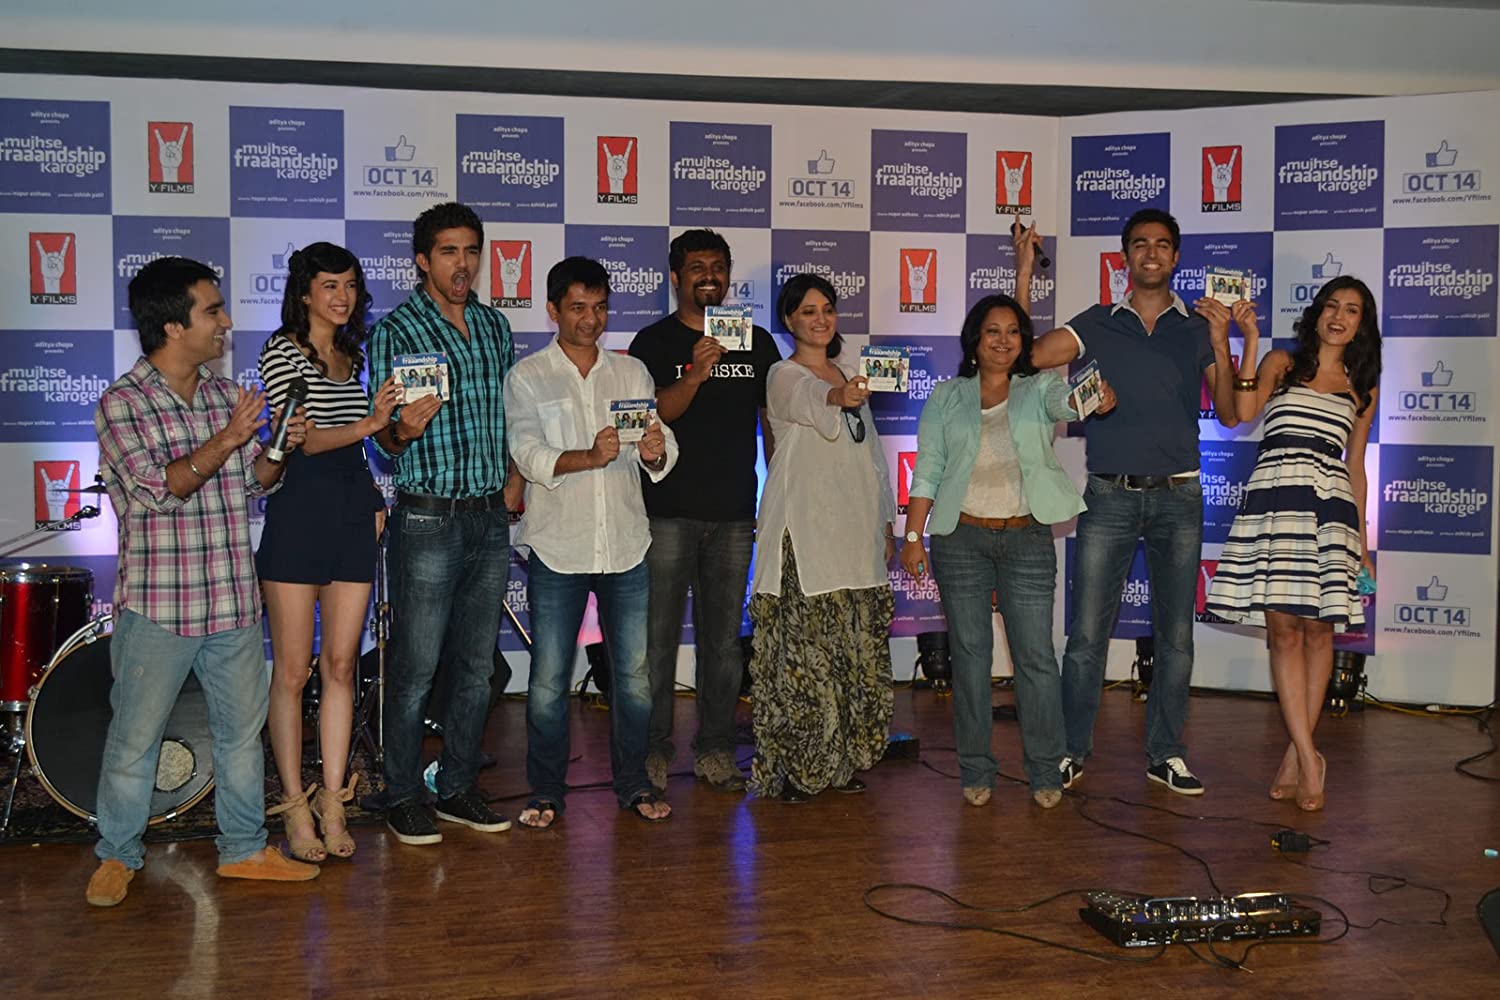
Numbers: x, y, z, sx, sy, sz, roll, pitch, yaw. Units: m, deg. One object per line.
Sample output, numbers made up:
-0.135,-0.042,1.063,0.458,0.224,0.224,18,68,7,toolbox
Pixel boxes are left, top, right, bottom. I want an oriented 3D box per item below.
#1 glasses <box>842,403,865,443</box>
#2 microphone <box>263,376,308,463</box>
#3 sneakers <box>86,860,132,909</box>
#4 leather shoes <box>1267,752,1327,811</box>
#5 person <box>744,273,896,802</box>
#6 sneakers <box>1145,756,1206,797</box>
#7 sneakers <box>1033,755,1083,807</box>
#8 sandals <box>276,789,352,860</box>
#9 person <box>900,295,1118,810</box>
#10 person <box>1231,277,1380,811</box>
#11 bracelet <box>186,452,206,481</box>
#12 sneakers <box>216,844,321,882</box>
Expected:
0.516,-0.375,6.599,0.048,0.161,0.125,-5,26,0,glasses
-1.957,-0.345,5.632,0.077,0.293,0.283,17,-10,-4,microphone
-2.675,1.595,5.585,0.103,0.116,0.253,1,-7,-7,sneakers
2.756,1.413,6.684,0.185,0.084,0.328,-11,30,45,leather shoes
0.357,0.211,6.637,0.686,2.552,0.589,1,12,5,person
2.149,1.403,6.795,0.116,0.132,0.295,-1,1,-29,sneakers
1.558,1.384,6.724,0.138,0.184,0.429,2,9,17,sneakers
-1.931,1.463,5.982,0.245,0.145,0.353,-4,38,-38,sandals
1.219,0.258,6.582,0.887,2.448,0.587,7,13,29,person
2.753,0.175,6.751,0.665,2.529,0.797,9,15,38,person
-2.255,-0.135,5.457,0.017,0.075,0.072,-2,45,29,bracelet
-2.069,1.575,5.788,0.407,0.161,0.165,0,0,-4,sneakers
